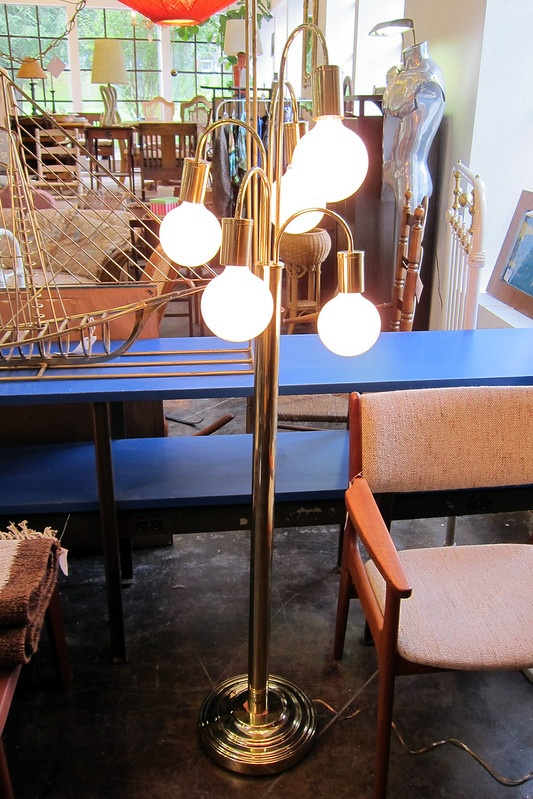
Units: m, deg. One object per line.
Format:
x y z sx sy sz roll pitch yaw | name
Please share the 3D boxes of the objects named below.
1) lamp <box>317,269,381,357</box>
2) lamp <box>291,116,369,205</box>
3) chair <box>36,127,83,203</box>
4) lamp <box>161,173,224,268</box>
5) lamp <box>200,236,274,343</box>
0.105 -0.123 0.831 0.084 0.118 0.084 -3 27 -3 | lamp
0.056 -0.255 0.663 0.093 0.111 0.092 -6 33 -6 | lamp
-1.951 -2.205 5.582 0.361 0.648 0.374 -9 52 -15 | chair
-0.092 -0.215 0.740 0.070 0.106 0.074 10 15 24 | lamp
-0.056 -0.123 0.692 0.084 0.117 0.084 20 15 41 | lamp
